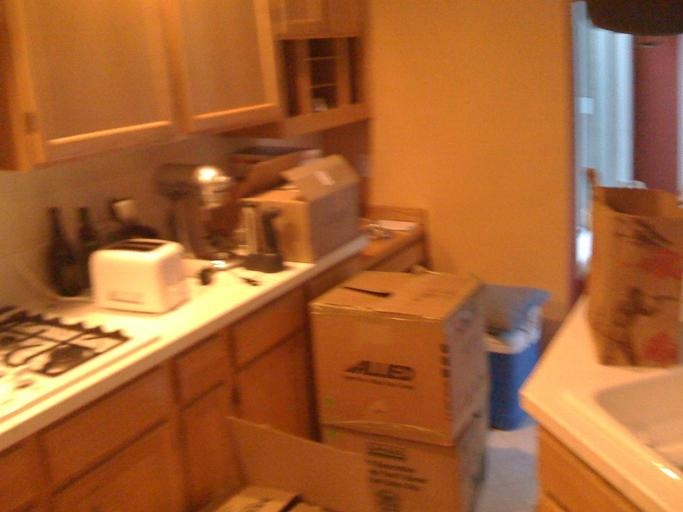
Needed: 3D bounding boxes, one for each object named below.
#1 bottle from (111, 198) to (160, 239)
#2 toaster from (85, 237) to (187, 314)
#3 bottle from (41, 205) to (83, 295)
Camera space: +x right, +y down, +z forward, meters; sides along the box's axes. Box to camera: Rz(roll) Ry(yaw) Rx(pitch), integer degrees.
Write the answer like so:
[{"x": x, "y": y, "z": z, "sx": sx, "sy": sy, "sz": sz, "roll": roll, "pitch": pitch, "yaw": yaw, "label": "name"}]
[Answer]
[{"x": -0.588, "y": -0.089, "z": 1.658, "sx": 0.089, "sy": 0.135, "sz": 0.134, "roll": 1, "pitch": 7, "yaw": -45, "label": "bottle"}, {"x": -0.513, "y": 0.059, "z": 1.525, "sx": 0.237, "sy": 0.145, "sz": 0.172, "roll": 2, "pitch": 5, "yaw": 11, "label": "toaster"}, {"x": -0.770, "y": -0.009, "z": 1.580, "sx": 0.088, "sy": 0.222, "sz": 0.144, "roll": -16, "pitch": 23, "yaw": -25, "label": "bottle"}]
